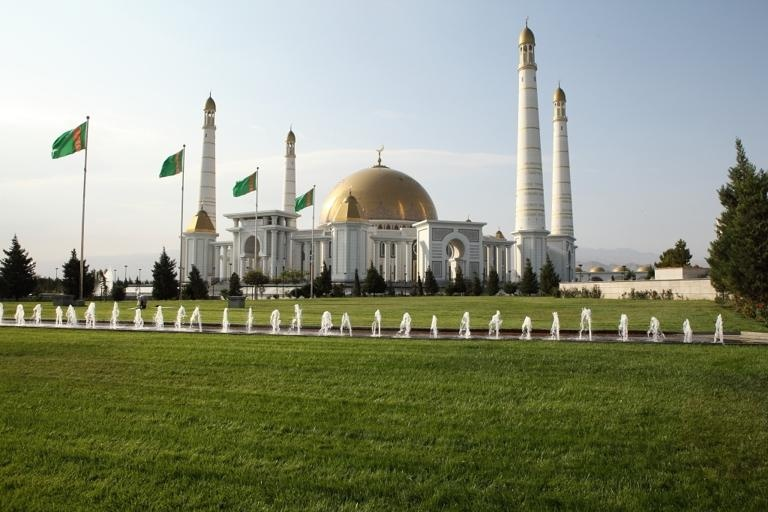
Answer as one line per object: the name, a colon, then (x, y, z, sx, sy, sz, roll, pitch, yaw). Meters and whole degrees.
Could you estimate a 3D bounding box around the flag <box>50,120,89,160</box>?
flag: (-16.391, -6.115, 48.583, 1.914, 0.220, 2.071, -17, -38, -30)

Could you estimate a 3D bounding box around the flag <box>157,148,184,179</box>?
flag: (-13.718, -6.067, 60.524, 1.234, 1.771, 4.117, -2, 15, -8)
